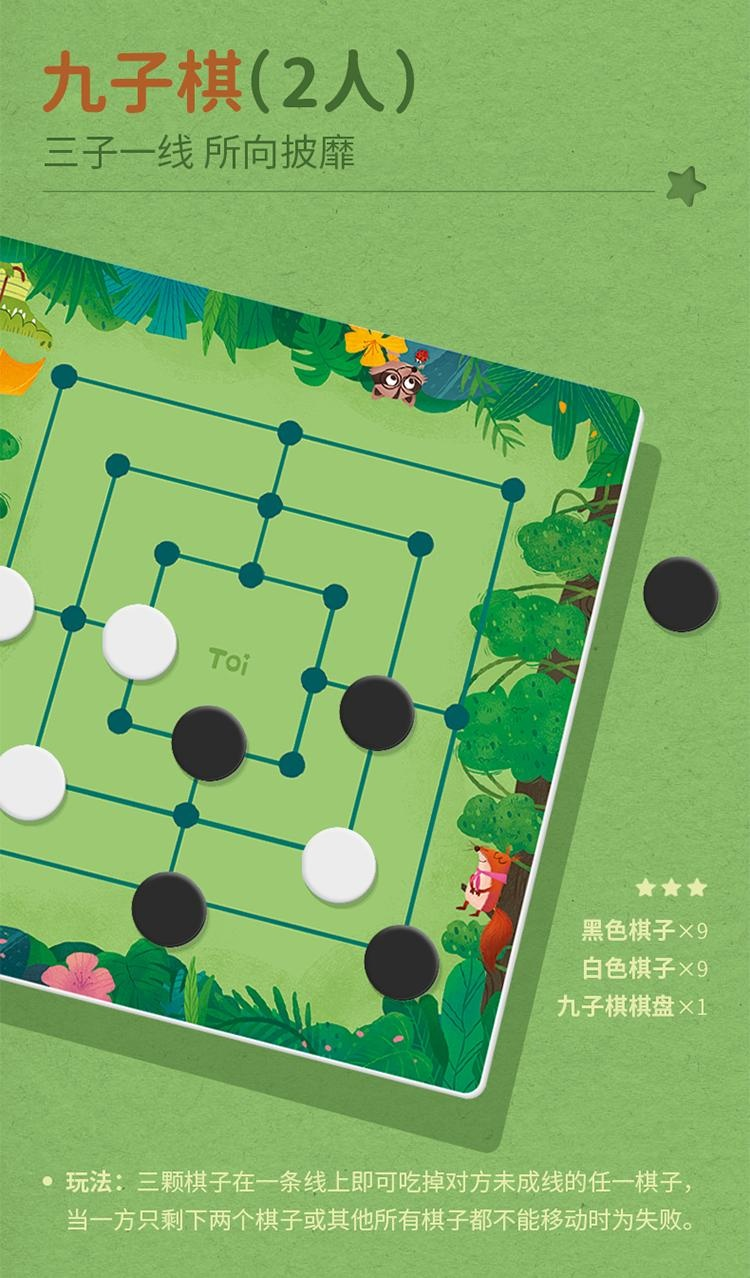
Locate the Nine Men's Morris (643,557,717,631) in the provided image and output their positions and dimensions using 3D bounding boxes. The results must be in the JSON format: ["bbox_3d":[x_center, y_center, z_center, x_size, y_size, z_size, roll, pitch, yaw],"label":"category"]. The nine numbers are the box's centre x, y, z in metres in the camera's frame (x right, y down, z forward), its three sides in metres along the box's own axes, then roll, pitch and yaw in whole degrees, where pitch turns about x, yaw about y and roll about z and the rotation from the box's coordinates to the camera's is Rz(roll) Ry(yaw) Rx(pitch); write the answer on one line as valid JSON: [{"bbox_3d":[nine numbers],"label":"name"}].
[{"bbox_3d":[0.653,-0.094,2.481,0.151,0.163,0.036,1,7,-5],"label":"Nine Men's Morris"}]
